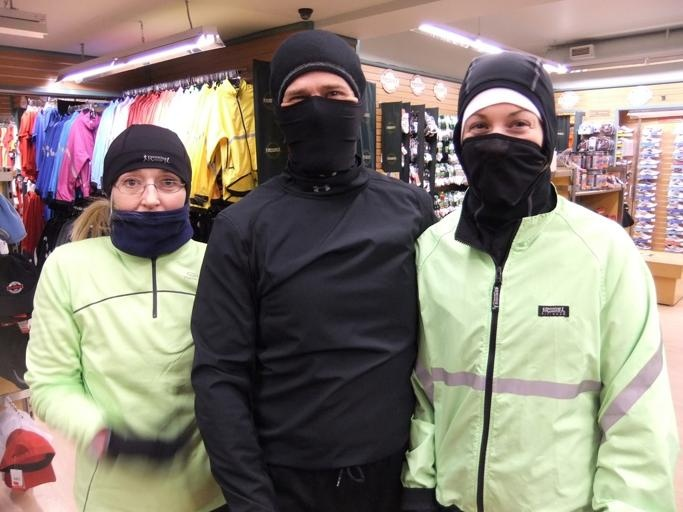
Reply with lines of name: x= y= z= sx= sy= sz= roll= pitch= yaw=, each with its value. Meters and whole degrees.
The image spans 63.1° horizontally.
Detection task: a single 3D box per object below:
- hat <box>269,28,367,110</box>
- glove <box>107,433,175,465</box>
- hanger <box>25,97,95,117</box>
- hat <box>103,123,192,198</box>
hat: x=-0.089 y=-0.653 z=1.957 sx=0.265 sy=0.219 sz=0.262 roll=-8 pitch=13 yaw=0
glove: x=-0.703 y=0.669 z=1.964 sx=0.225 sy=0.119 sz=0.017 roll=-2 pitch=5 yaw=-14
hanger: x=-3.215 y=-1.685 z=6.366 sx=0.854 sy=0.272 sz=0.524 roll=7 pitch=11 yaw=42
hat: x=-0.717 y=-0.380 z=2.063 sx=0.261 sy=0.223 sz=0.279 roll=0 pitch=-17 yaw=-23
